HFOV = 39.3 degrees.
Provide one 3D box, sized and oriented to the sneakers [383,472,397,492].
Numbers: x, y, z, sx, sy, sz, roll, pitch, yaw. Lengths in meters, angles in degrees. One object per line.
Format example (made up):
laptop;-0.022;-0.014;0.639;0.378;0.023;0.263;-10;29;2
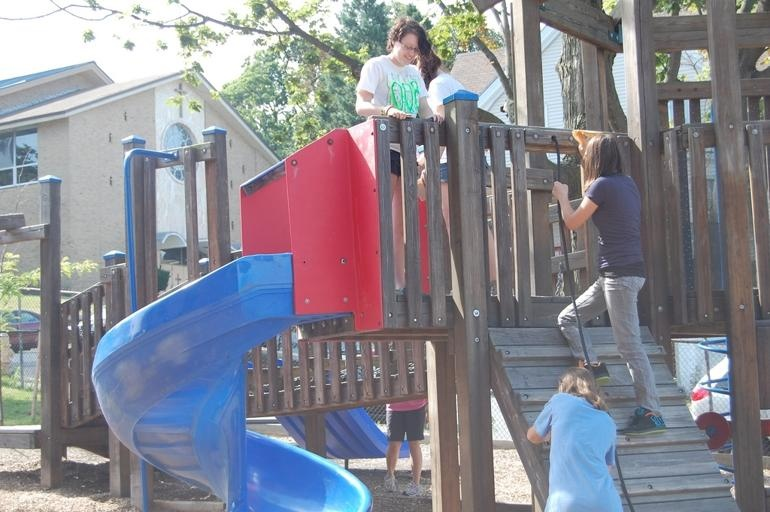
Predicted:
sneakers;0.065;3.137;14.984;0.259;0.371;0.213;0;-8;-4

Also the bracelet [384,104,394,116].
bracelet;0.032;-1.553;11.511;0.117;0.135;0.096;9;18;3

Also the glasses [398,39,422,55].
glasses;0.255;-2.357;12.128;0.215;0.198;0.098;-3;-4;-27

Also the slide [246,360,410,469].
slide;-0.830;2.351;16.350;1.658;2.119;1.369;-9;-5;-34

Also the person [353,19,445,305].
person;0.243;-1.159;11.931;0.953;3.069;1.034;-4;-3;-15

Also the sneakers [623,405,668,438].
sneakers;2.697;1.737;11.325;0.524;0.286;0.214;-4;-6;3
